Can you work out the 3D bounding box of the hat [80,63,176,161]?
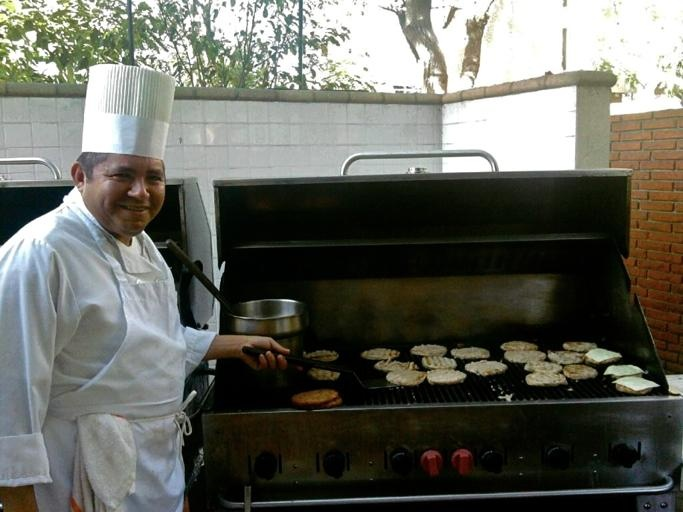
[{"bbox_3d":[-0.814,-0.558,2.718,0.416,0.357,0.409,10,5,4],"label":"hat"}]
